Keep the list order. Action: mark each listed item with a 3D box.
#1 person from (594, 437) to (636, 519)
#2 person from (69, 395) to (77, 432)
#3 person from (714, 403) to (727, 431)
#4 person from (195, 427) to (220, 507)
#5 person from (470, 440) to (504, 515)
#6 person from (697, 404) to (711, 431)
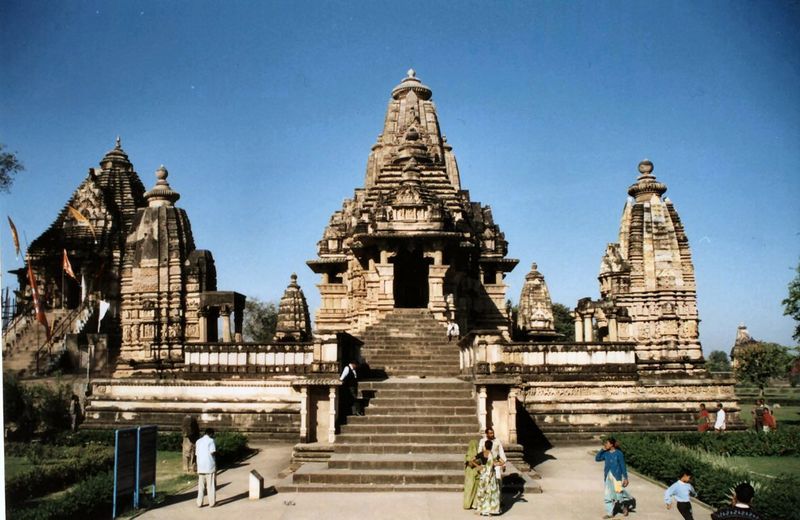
[{"bbox_3d":[6.951,7.060,33.426,1.083,2.506,0.823,-3,-11,12],"label":"person"},{"bbox_3d":[-13.425,6.245,42.691,0.166,1.311,0.412,-8,-13,34],"label":"person"},{"bbox_3d":[12.977,6.395,42.008,0.529,1.173,1.299,-3,-10,16],"label":"person"},{"bbox_3d":[-6.407,6.891,34.189,0.693,2.528,0.767,2,-11,-10],"label":"person"},{"bbox_3d":[2.807,7.008,33.239,0.857,2.364,0.366,-1,-11,3],"label":"person"},{"bbox_3d":[12.271,6.361,41.731,0.522,1.149,2.044,-3,-10,16],"label":"person"}]
